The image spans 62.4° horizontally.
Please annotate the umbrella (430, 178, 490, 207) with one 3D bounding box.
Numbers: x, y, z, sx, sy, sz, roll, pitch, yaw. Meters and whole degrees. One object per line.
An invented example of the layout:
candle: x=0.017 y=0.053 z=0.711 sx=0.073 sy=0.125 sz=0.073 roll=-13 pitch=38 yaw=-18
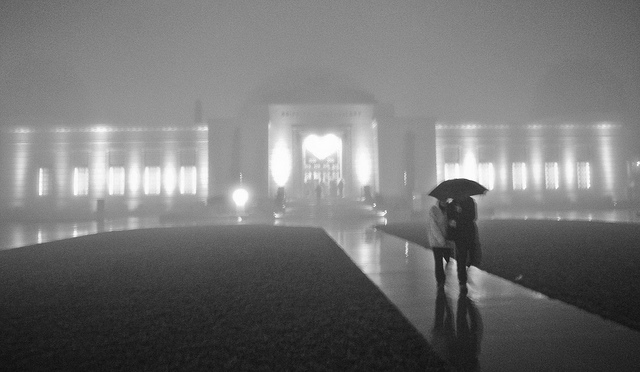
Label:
umbrella: x=3.781 y=0.073 z=14.617 sx=0.991 sy=0.392 sz=0.960 roll=-10 pitch=-8 yaw=-7
